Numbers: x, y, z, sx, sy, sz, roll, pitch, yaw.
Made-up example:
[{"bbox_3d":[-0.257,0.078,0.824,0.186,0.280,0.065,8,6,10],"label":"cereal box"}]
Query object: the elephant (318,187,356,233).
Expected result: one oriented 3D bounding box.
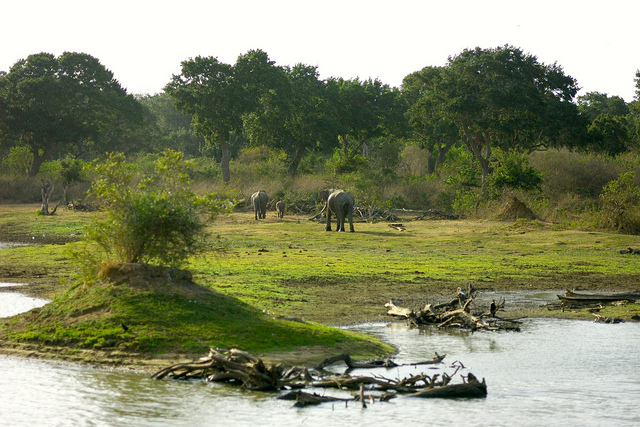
[{"bbox_3d":[0.827,-0.168,56.602,1.339,2.404,3.998,-1,-1,-21],"label":"elephant"}]
